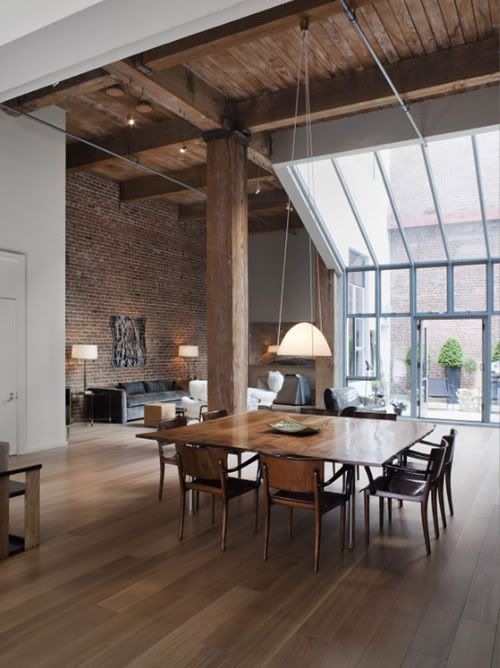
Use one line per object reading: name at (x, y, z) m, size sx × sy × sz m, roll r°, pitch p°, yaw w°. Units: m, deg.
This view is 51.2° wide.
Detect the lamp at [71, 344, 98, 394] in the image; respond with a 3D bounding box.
lamp at (-2.954, 0.606, 9.228) m, size 0.414 × 0.852 × 0.852 m, roll 1°, pitch -2°, yaw -19°

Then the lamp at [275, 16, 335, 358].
lamp at (0.464, -1.165, 4.404) m, size 0.478 × 2.809 × 0.475 m, roll 4°, pitch 15°, yaw 22°

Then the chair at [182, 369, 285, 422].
chair at (-0.393, 1.157, 9.381) m, size 1.043 × 0.513 × 1.520 m, roll 1°, pitch 0°, yaw 28°

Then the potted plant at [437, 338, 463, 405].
potted plant at (4.743, 0.866, 12.186) m, size 0.544 × 1.541 × 0.796 m, roll 0°, pitch -2°, yaw 6°
